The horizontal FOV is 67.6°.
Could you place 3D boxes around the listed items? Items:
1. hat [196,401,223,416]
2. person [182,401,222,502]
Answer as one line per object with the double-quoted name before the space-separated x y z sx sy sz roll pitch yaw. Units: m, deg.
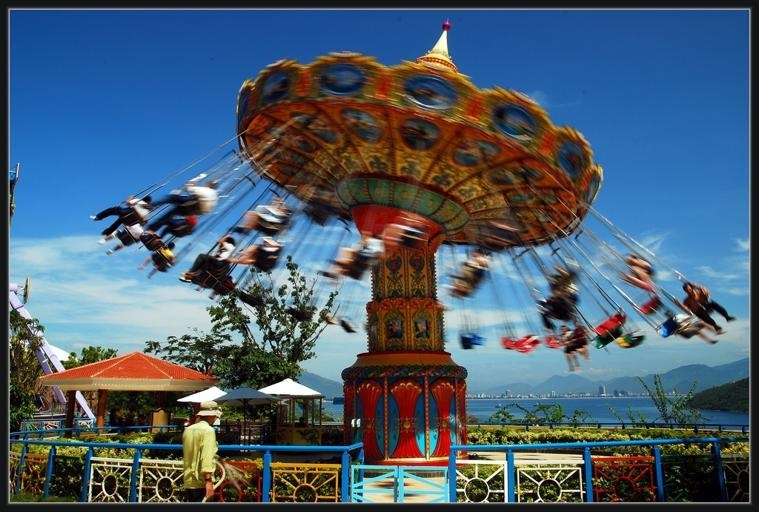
"hat" -2.502 2.329 8.474 0.329 0.137 0.308 2 -7 6
"person" -2.614 2.838 8.257 0.485 1.387 0.584 5 -24 -15
